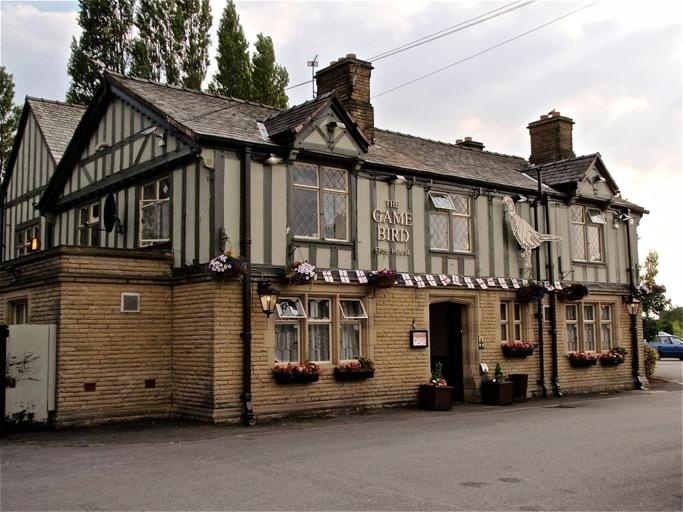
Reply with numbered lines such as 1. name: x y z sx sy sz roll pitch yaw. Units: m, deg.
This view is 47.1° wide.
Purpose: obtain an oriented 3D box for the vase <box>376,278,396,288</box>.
1. vase: 1.257 0.712 21.244 0.440 0.263 0.713 0 -1 37

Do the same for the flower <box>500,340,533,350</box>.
1. flower: 5.322 2.697 23.811 0.599 0.210 0.459 0 -2 0

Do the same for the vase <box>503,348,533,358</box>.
1. vase: 5.398 2.941 23.904 1.041 0.319 0.230 1 -1 -30

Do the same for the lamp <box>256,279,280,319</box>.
1. lamp: -1.801 1.024 19.154 0.516 0.890 0.740 1 -1 -8

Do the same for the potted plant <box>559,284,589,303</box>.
1. potted plant: 7.410 1.150 24.998 0.558 0.325 0.715 -2 1 -5

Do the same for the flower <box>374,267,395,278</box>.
1. flower: 1.147 0.436 21.152 0.448 0.249 0.550 1 -1 -42

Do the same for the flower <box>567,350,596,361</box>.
1. flower: 7.903 3.210 25.581 1.385 0.268 0.585 1 -1 -40

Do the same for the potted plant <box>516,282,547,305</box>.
1. potted plant: 5.936 1.072 24.273 1.101 0.560 0.371 1 -1 -18

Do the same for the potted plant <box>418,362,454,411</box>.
1. potted plant: 2.535 3.501 21.240 0.898 1.209 0.673 1 -1 5

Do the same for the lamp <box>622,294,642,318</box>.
1. lamp: 10.139 1.687 27.023 0.576 0.745 0.578 1 -1 -14
